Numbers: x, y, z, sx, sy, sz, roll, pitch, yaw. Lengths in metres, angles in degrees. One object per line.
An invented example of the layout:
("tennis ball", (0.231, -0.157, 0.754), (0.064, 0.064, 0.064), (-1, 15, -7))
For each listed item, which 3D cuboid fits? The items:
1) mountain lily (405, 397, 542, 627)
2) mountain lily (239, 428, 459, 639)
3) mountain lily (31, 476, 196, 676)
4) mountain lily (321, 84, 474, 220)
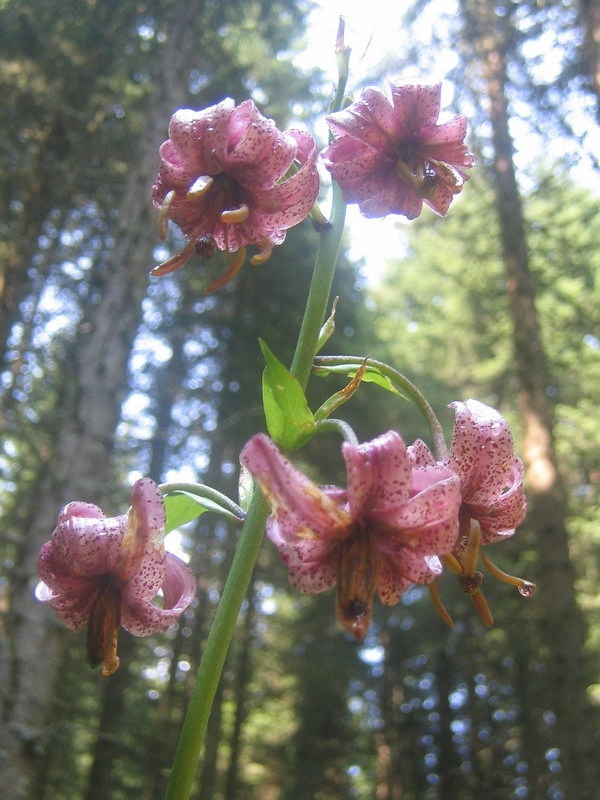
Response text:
("mountain lily", (0.456, 0.287, 2.866), (0.469, 0.654, 0.339), (-8, 13, -35))
("mountain lily", (0.197, 0.365, 2.828), (0.614, 0.603, 0.616), (12, -47, 9))
("mountain lily", (-0.575, 0.557, 2.815), (0.413, 0.507, 0.349), (-9, -34, 26))
("mountain lily", (0.331, -0.790, 3.038), (0.521, 0.241, 0.464), (-13, -16, 13))
